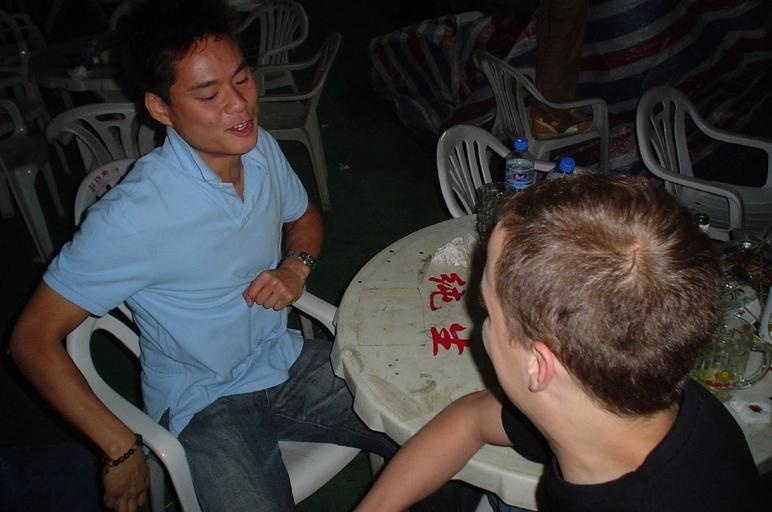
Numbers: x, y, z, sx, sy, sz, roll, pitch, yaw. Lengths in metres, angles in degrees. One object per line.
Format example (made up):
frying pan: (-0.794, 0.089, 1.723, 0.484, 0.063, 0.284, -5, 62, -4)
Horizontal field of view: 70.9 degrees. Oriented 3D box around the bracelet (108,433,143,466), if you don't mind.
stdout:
bracelet: (-0.852, 0.655, 1.802, 0.023, 0.089, 0.092, 44, 44, 4)
